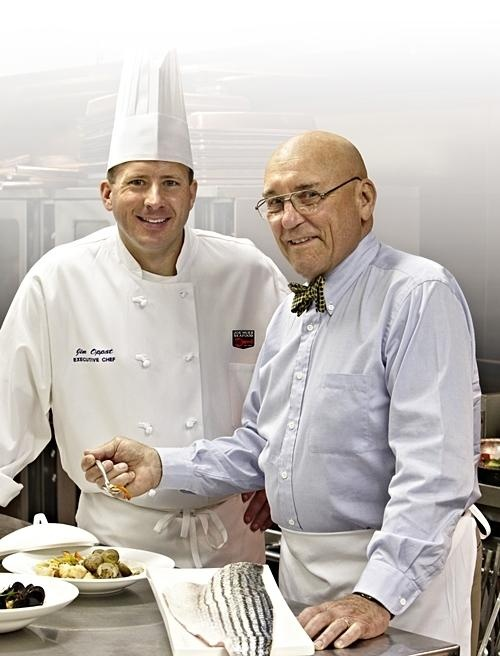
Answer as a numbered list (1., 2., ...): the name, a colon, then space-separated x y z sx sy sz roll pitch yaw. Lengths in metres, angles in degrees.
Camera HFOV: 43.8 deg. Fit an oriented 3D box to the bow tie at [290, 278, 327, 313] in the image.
1. bow tie: 0.107 -0.058 1.127 0.071 0.059 0.021 -8 -32 31
